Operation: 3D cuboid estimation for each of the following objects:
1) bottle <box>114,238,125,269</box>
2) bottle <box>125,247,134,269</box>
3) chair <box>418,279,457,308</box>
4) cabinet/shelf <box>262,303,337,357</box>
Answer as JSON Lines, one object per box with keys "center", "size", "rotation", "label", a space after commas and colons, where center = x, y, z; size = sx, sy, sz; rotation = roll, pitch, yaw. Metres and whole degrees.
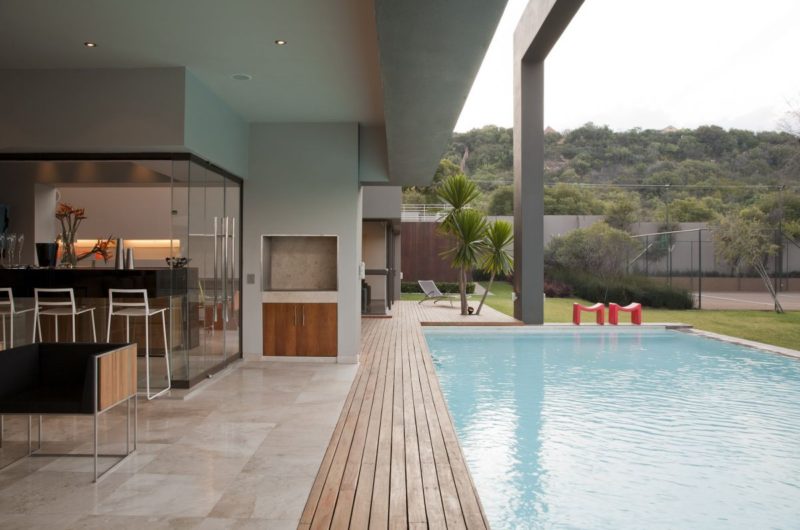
{"center": [-4.006, -0.195, 8.493], "size": [0.103, 0.394, 0.460], "rotation": [-3, 11, -24], "label": "bottle"}
{"center": [-3.854, -0.124, 8.412], "size": [0.091, 0.276, 0.201], "rotation": [-3, 11, -25], "label": "bottle"}
{"center": [1.032, 0.811, 18.617], "size": [1.088, 0.585, 0.682], "rotation": [1, -1, 43], "label": "chair"}
{"center": [-1.656, 1.043, 10.191], "size": [1.404, 1.018, 0.817], "rotation": [0, -5, -1], "label": "cabinet/shelf"}
